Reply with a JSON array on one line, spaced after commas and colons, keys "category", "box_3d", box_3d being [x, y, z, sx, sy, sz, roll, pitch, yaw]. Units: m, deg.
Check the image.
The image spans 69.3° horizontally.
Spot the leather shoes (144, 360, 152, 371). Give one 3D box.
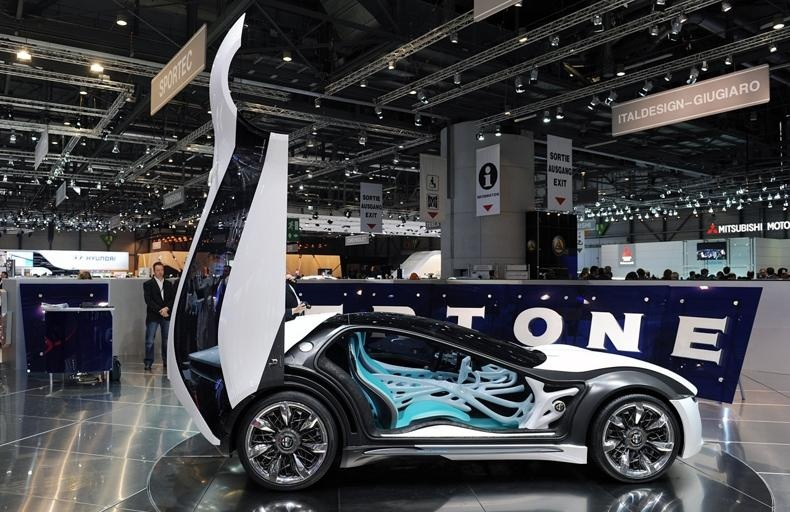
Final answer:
[{"category": "leather shoes", "box_3d": [-4.733, 2.097, 10.972, 0.089, 0.117, 0.270, 3, 5, -9]}]

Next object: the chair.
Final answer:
[{"category": "chair", "box_3d": [0.132, 1.556, 6.733, 1.332, 0.679, 0.954, 10, 31, -15]}]

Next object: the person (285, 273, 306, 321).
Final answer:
[{"category": "person", "box_3d": [-1.474, 0.629, 8.458, 0.252, 0.256, 0.774, -10, -41, -9]}]
